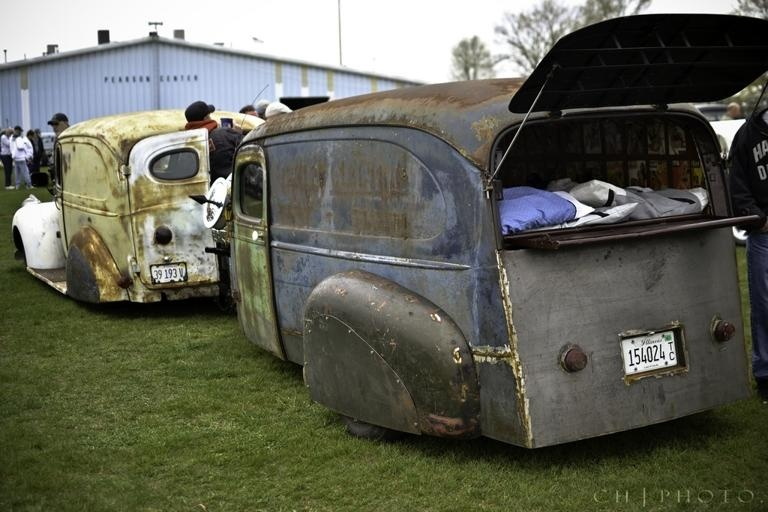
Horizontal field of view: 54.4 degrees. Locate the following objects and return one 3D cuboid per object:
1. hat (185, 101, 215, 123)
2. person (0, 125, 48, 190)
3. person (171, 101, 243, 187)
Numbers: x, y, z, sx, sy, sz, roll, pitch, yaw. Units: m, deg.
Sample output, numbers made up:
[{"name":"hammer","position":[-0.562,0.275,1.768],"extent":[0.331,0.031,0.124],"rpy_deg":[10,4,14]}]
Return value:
[{"name":"hat","position":[-2.297,-1.800,9.173],"extent":[0.313,0.233,0.583],"rpy_deg":[-6,15,-16]},{"name":"person","position":[-10.283,-2.819,20.970],"extent":[0.792,1.714,1.690],"rpy_deg":[-7,15,-25]},{"name":"person","position":[-2.081,-1.398,9.007],"extent":[0.625,0.922,0.606],"rpy_deg":[2,13,13]}]
